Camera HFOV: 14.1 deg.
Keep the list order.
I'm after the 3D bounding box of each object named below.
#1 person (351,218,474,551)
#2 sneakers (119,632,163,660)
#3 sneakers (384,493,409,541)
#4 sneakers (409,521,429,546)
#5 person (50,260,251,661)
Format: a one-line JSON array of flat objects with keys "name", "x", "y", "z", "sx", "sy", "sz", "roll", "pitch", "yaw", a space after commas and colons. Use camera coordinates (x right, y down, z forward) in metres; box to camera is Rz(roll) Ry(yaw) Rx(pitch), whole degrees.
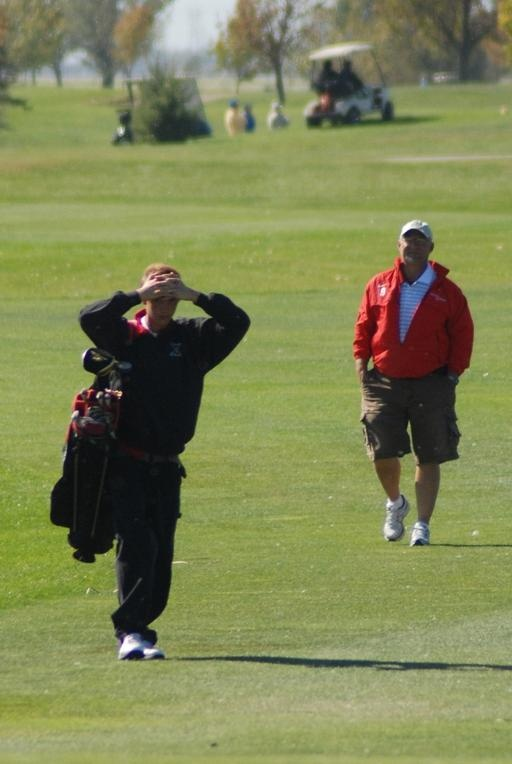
[{"name": "person", "x": 0.765, "y": 0.006, "z": 10.197, "sx": 0.370, "sy": 1.585, "sz": 0.665, "roll": -7, "pitch": 12, "yaw": -35}, {"name": "sneakers", "x": -0.450, "y": 1.068, "z": 8.202, "sx": 0.189, "sy": 0.101, "sz": 0.083, "roll": -1, "pitch": 1, "yaw": -1}, {"name": "sneakers", "x": 0.692, "y": 0.711, "z": 10.237, "sx": 0.081, "sy": 0.268, "sz": 0.116, "roll": 2, "pitch": -19, "yaw": 25}, {"name": "sneakers", "x": 0.795, "y": 0.764, "z": 10.101, "sx": 0.073, "sy": 0.121, "sz": 0.114, "roll": 1, "pitch": -9, "yaw": 0}, {"name": "person", "x": -0.424, "y": 0.311, "z": 8.556, "sx": 0.729, "sy": 1.536, "sz": 0.665, "roll": -7, "pitch": 12, "yaw": -36}]
